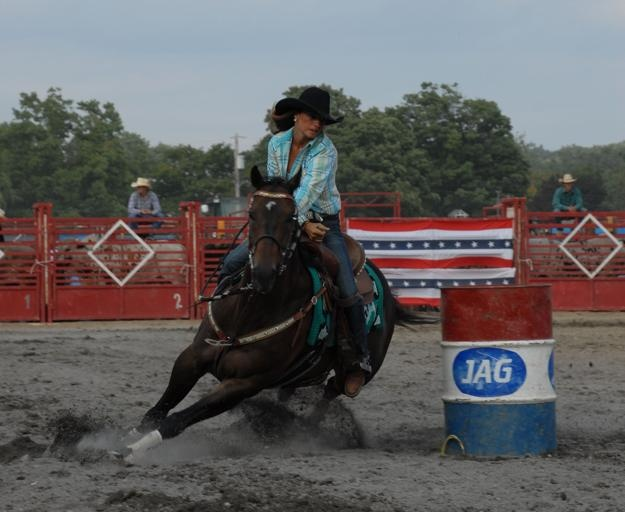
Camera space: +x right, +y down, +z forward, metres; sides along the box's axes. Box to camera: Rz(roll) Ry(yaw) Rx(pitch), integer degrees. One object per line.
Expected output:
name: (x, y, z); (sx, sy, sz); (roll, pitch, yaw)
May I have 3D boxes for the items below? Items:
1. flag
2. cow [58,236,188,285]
flag: (2.014, 0.080, 22.921); (0.291, 1.445, 3.452); (-7, 6, -44)
cow: (-3.163, 0.065, 23.727); (2.111, 0.836, 0.462); (2, -1, -8)
